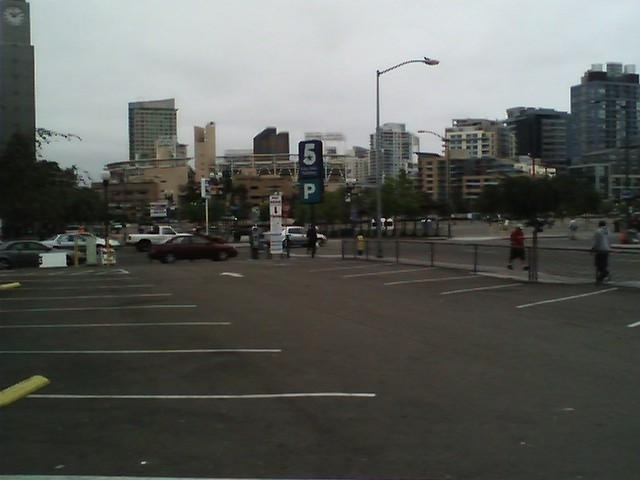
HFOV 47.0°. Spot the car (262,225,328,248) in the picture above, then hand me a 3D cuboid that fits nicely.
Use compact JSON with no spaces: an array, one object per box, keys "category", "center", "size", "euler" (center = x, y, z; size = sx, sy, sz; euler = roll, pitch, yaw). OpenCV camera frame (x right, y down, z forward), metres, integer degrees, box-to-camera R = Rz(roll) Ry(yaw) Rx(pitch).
[{"category":"car","center":[-1.551,0.065,47.932],"size":[3.353,1.272,1.695],"euler":[-1,2,-4]}]

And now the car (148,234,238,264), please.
[{"category":"car","center":[-6.038,0.453,34.591],"size":[3.426,1.184,1.605],"euler":[-2,2,-14]}]

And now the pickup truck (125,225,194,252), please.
[{"category":"pickup truck","center":[-10.281,-0.099,46.749],"size":[3.122,1.368,1.794],"euler":[-7,4,-3]}]

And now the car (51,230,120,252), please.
[{"category":"car","center":[-13.192,0.111,41.788],"size":[2.709,0.844,1.335],"euler":[-2,3,-9]}]
